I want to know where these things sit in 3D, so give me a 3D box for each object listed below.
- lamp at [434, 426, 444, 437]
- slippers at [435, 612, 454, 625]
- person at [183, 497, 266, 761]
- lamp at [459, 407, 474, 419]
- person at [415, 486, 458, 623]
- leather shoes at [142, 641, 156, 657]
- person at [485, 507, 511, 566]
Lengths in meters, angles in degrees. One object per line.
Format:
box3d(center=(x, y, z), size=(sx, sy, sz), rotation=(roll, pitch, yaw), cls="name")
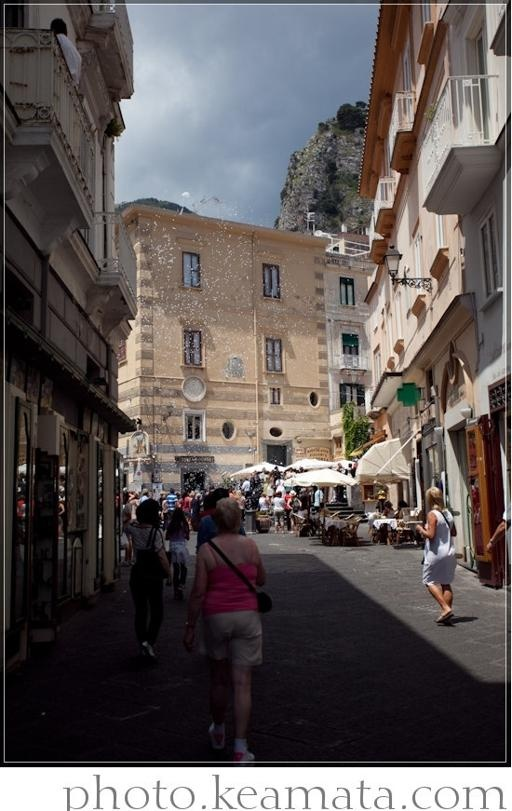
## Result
box3d(center=(4.343, 0.616, 14.599), size=(0.199, 0.237, 0.165), rotation=(-3, -3, -10), cls="lamp")
box3d(center=(2.249, 2.525, 7.374), size=(0.181, 0.186, 0.254), rotation=(-6, -11, 9), cls="slippers")
box3d(center=(-0.176, 1.122, 3.271), size=(0.377, 1.372, 0.415), rotation=(-2, 5, -11), cls="person")
box3d(center=(4.024, 0.120, 11.728), size=(0.164, 0.200, 0.212), rotation=(9, 39, 45), cls="lamp")
box3d(center=(2.383, 1.901, 8.109), size=(0.481, 1.680, 1.526), rotation=(-6, -11, 15), cls="person")
box3d(center=(-1.029, 2.335, 5.959), size=(0.069, 0.103, 0.229), rotation=(4, 5, -6), cls="leather shoes")
box3d(center=(3.638, 1.961, 9.194), size=(0.348, 0.835, 1.451), rotation=(-7, -12, 20), cls="person")
